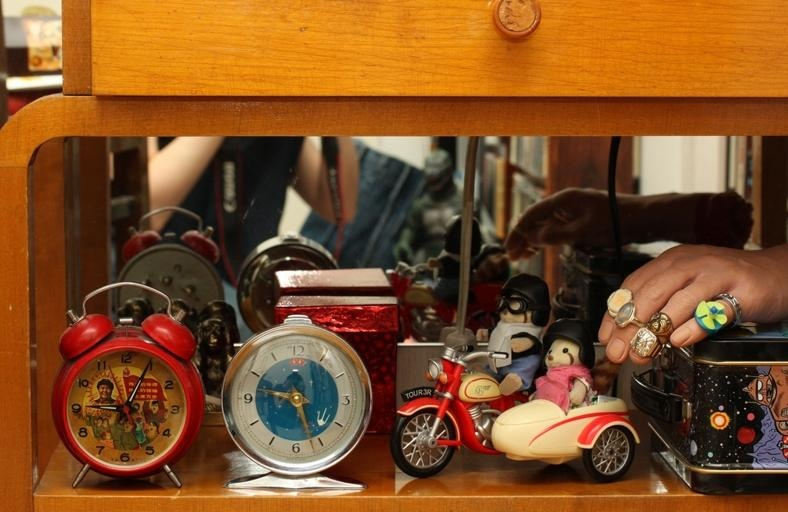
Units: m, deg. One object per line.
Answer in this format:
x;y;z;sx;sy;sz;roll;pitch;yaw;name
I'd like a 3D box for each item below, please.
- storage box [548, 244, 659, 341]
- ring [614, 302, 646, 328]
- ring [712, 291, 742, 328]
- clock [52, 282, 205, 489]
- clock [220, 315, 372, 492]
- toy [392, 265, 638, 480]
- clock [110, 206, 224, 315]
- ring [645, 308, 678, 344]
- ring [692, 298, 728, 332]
0.344;0.045;1.588;0.144;0.162;0.149;-4;6;-24;storage box
0.323;0.085;1.309;0.008;0.035;0.033;16;-25;-30;ring
0.458;0.079;1.296;0.012;0.042;0.035;-20;22;-9;ring
-0.379;0.187;1.337;0.194;0.298;0.098;-1;-3;-11;clock
-0.135;0.217;1.337;0.202;0.260;0.042;1;-5;-1;clock
0.143;0.162;1.344;0.335;0.295;0.229;2;-4;-3;toy
-0.381;0.016;1.604;0.148;0.234;0.084;2;-5;-5;clock
0.364;0.095;1.293;0.015;0.032;0.041;-12;-14;-41;ring
0.430;0.082;1.276;0.038;0.042;0.026;22;-4;5;ring
